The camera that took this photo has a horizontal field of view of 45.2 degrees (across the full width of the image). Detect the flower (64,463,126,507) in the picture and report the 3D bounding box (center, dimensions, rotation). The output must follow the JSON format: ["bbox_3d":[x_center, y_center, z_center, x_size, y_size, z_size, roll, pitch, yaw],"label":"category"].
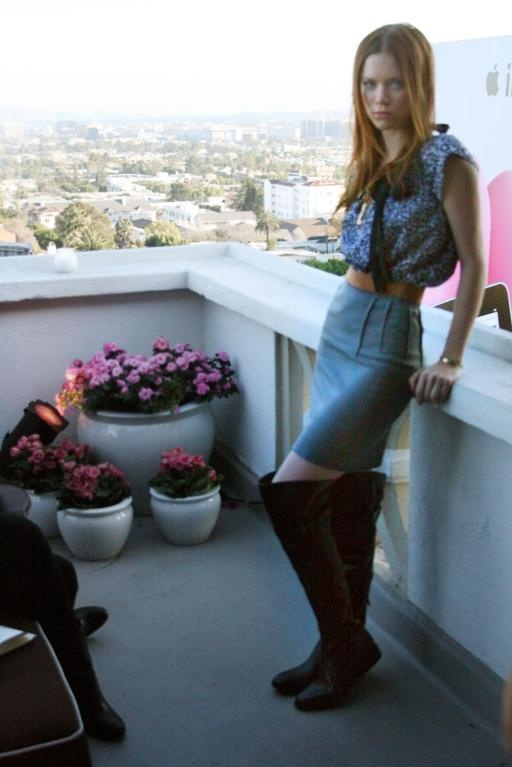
[{"bbox_3d":[-0.708,0.412,2.656,0.204,0.147,0.202,-5,8,-34],"label":"flower"}]

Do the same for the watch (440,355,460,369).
[{"bbox_3d":[0.370,-0.040,1.168,0.033,0.017,0.011,26,-21,-19],"label":"watch"}]

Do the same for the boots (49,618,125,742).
[{"bbox_3d":[-0.355,0.626,1.289,0.069,0.143,0.202,-22,57,-39],"label":"boots"}]

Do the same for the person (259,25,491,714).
[{"bbox_3d":[0.175,0.001,1.110,0.390,1.128,0.562,10,23,23],"label":"person"}]

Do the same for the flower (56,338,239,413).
[{"bbox_3d":[-0.536,0.018,3.075,0.890,0.359,0.475,-7,22,-18],"label":"flower"}]

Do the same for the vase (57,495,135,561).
[{"bbox_3d":[-0.703,0.646,2.727,0.330,0.227,0.318,-4,5,-25],"label":"vase"}]

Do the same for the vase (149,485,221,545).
[{"bbox_3d":[-0.304,0.588,2.682,0.251,0.184,0.262,-2,6,-14],"label":"vase"}]
